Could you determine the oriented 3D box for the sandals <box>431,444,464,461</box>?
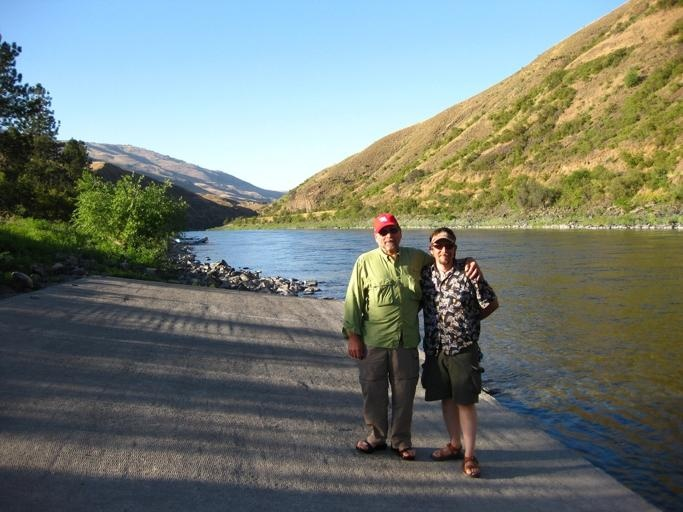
[{"bbox_3d":[1.159,2.164,5.576,0.331,0.143,0.155,2,2,-5],"label":"sandals"}]

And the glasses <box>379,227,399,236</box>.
[{"bbox_3d":[0.522,-0.249,5.491,0.145,0.104,0.234,0,-7,11],"label":"glasses"}]

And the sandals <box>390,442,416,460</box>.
[{"bbox_3d":[0.672,2.146,5.551,0.296,0.126,0.165,8,9,21],"label":"sandals"}]

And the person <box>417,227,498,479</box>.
[{"bbox_3d":[1.192,0.982,5.423,0.870,2.514,0.543,8,9,19],"label":"person"}]

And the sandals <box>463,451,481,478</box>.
[{"bbox_3d":[1.393,2.196,5.312,0.214,0.174,0.217,5,8,-3],"label":"sandals"}]

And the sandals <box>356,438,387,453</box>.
[{"bbox_3d":[0.326,2.110,5.627,0.254,0.079,0.142,8,-4,-21],"label":"sandals"}]
